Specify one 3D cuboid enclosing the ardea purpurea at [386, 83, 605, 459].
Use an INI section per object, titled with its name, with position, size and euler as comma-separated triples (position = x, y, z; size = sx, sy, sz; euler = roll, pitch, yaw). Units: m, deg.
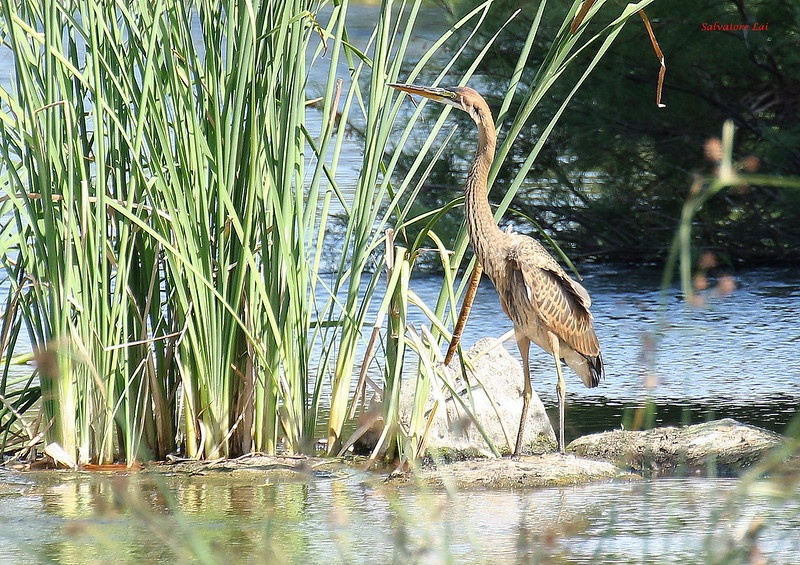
[ardea purpurea]
position = 0.546, -0.043, 5.914
size = 0.742, 1.743, 0.702
euler = 6, 10, 27
